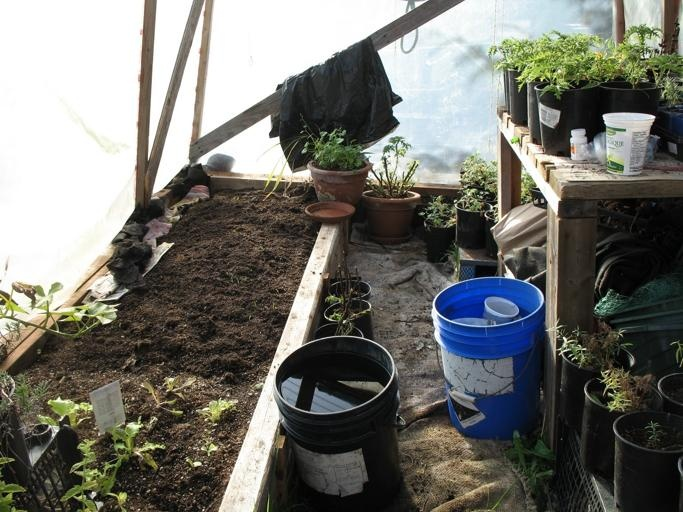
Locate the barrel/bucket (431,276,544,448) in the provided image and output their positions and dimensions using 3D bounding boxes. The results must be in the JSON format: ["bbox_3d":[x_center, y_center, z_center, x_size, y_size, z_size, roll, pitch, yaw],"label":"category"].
[{"bbox_3d":[0.814,0.611,2.892,0.546,0.632,0.548,-8,10,1],"label":"barrel/bucket"}]

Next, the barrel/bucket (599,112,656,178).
[{"bbox_3d":[1.214,-0.463,2.225,0.200,0.221,0.208,-2,16,1],"label":"barrel/bucket"}]
